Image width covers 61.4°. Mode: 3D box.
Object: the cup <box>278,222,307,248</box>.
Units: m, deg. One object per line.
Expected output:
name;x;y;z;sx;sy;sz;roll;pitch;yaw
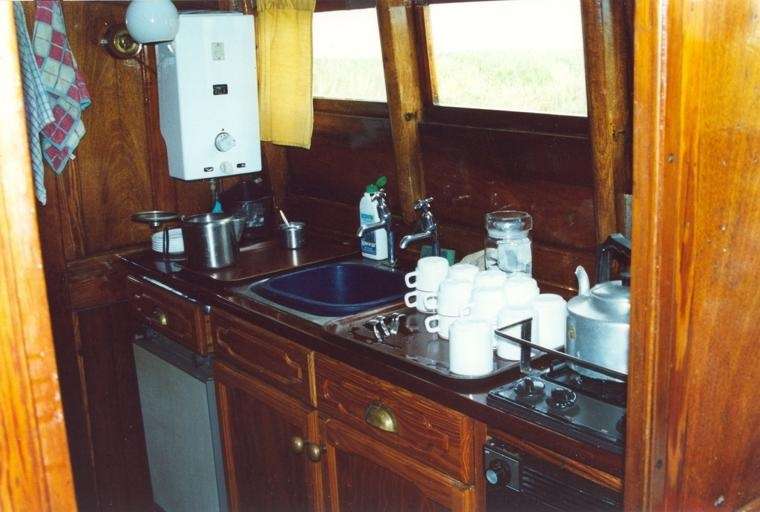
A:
cup;-0.429;-0.101;3.112;0.117;0.121;0.124;0;13;0

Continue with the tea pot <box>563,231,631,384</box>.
tea pot;0.580;0.148;1.718;0.155;0.359;0.450;4;14;17

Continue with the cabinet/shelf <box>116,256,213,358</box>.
cabinet/shelf;-0.914;0.249;2.875;0.493;0.254;0.383;23;29;33

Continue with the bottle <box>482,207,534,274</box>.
bottle;0.455;-0.057;2.261;0.217;0.297;0.205;-1;7;0

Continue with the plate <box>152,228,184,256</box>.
plate;-1.017;-0.085;3.078;0.155;0.062;0.160;-15;23;-39

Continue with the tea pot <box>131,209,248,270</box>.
tea pot;-0.883;-0.079;2.866;0.446;0.142;0.303;2;17;4

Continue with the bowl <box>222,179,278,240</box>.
bowl;-0.727;-0.241;3.378;0.294;0.383;0.302;0;4;0

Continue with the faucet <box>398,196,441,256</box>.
faucet;0.173;-0.107;2.594;0.144;0.259;0.470;1;13;6
